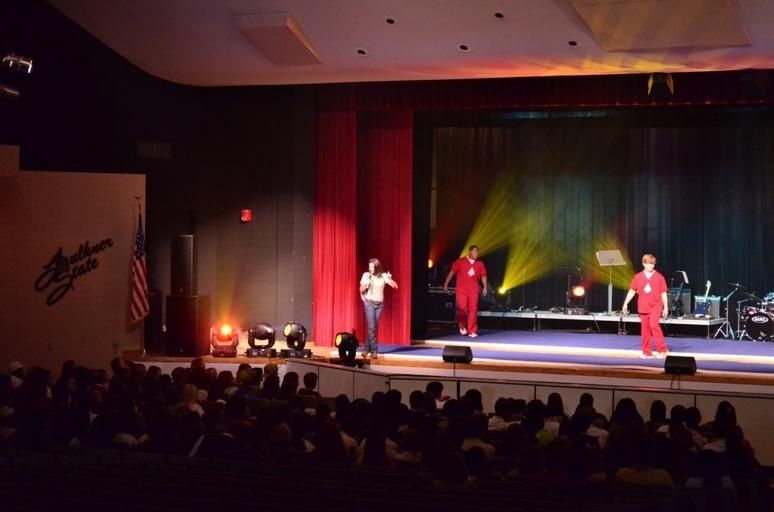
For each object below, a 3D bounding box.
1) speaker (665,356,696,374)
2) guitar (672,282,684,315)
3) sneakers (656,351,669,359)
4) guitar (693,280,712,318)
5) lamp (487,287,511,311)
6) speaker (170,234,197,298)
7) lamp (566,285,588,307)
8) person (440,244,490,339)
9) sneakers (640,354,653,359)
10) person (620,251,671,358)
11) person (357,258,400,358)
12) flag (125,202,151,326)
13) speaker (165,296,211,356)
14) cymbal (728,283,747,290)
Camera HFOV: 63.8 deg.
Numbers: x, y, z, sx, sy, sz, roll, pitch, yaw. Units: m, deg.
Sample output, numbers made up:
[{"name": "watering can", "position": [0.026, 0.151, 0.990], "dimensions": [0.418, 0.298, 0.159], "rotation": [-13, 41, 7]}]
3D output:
[{"name": "speaker", "position": [4.204, 1.578, 8.930], "dimensions": [0.315, 0.231, 0.304], "rotation": [0, -10, 32]}, {"name": "guitar", "position": [5.892, 0.922, 12.652], "dimensions": [0.187, 0.572, 0.323], "rotation": [-1, -5, 25]}, {"name": "sneakers", "position": [4.523, 1.640, 10.263], "dimensions": [0.163, 0.175, 0.424], "rotation": [-4, -13, 31]}, {"name": "guitar", "position": [6.512, 0.872, 12.846], "dimensions": [0.258, 0.768, 1.125], "rotation": [-1, -5, 30]}, {"name": "lamp", "position": [2.535, 0.984, 14.201], "dimensions": [0.492, 0.567, 0.490], "rotation": [1, -5, 14]}, {"name": "speaker", "position": [-3.444, 0.167, 10.533], "dimensions": [0.430, 1.014, 0.254], "rotation": [2, -5, -12]}, {"name": "lamp", "position": [4.068, 0.856, 13.602], "dimensions": [0.408, 0.575, 0.441], "rotation": [3, 8, 3]}, {"name": "person", "position": [1.611, 0.736, 12.848], "dimensions": [0.825, 1.803, 1.563], "rotation": [1, -4, 7]}, {"name": "sneakers", "position": [4.337, 1.687, 10.440], "dimensions": [0.187, 0.086, 0.077], "rotation": [4, -5, -17]}, {"name": "person", "position": [4.376, 0.858, 10.480], "dimensions": [0.577, 1.701, 0.506], "rotation": [-1, -5, 27]}, {"name": "person", "position": [-0.170, 0.903, 10.695], "dimensions": [0.539, 1.695, 0.596], "rotation": [0, -5, 9]}, {"name": "flag", "position": [-4.118, 0.085, 10.323], "dimensions": [0.269, 2.105, 0.400], "rotation": [0, -5, 12]}, {"name": "speaker", "position": [-3.372, 1.190, 10.527], "dimensions": [0.712, 1.033, 0.360], "rotation": [2, -5, -15]}, {"name": "cymbal", "position": [7.351, 0.639, 13.107], "dimensions": [0.147, 0.041, 0.151], "rotation": [-13, 33, -22]}]
